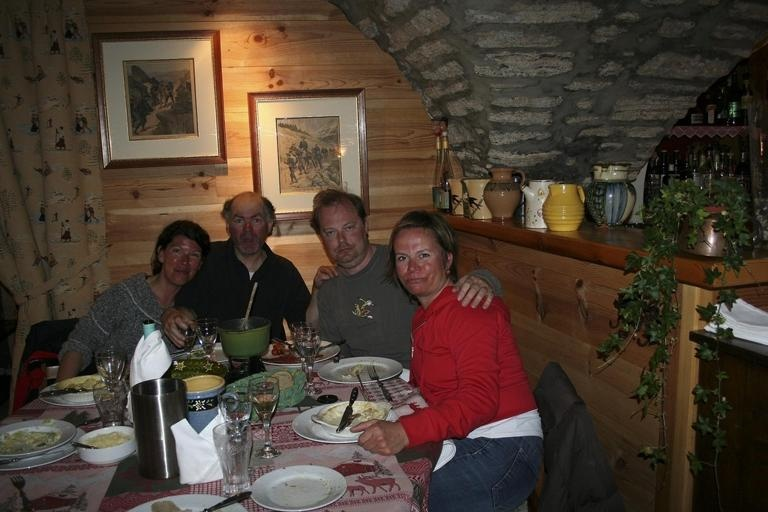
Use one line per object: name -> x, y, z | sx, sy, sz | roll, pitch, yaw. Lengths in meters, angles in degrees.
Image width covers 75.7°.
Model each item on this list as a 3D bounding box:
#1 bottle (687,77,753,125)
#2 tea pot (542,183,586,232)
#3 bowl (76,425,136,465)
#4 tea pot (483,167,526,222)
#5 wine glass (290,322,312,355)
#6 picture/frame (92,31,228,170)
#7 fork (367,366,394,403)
bottle -> 2.437, -1.138, 3.620 | 0.372, 0.357, 0.376 | 8, 18, 33
tea pot -> 0.900, -0.239, 2.488 | 0.208, 0.229, 0.251 | -1, 1, -29
bowl -> -0.883, 0.599, 1.578 | 0.138, 0.049, 0.132 | 7, 13, -2
tea pot -> 0.624, -0.356, 2.846 | 0.315, 0.331, 0.269 | 2, 10, 6
wine glass -> -0.354, 0.346, 2.109 | 0.136, 0.139, 0.133 | 1, -5, 2
picture/frame -> -1.635, -1.148, 3.535 | 1.035, 0.980, 0.071 | -3, 6, -6
fork -> -0.027, 0.507, 2.008 | 0.037, 0.033, 0.292 | -22, 21, -10
